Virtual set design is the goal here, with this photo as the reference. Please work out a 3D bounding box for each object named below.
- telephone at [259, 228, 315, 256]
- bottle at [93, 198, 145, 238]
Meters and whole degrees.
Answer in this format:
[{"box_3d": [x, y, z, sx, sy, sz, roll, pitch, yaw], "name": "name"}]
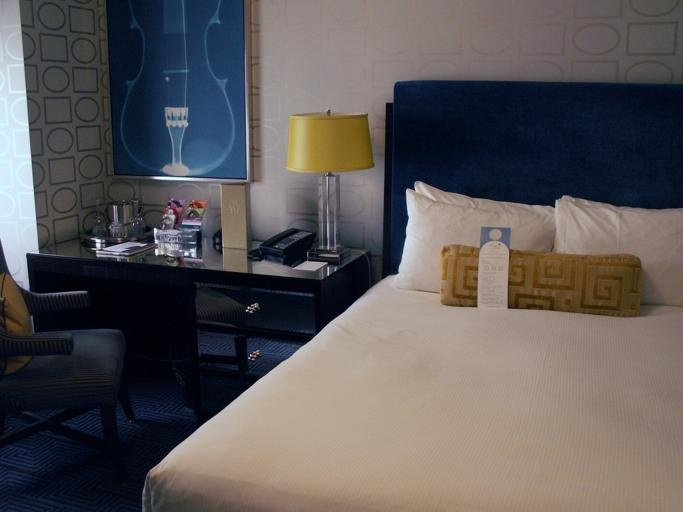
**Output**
[{"box_3d": [-0.295, -0.071, 2.994, 0.154, 0.110, 0.218, 8, 18, 35], "name": "telephone"}, {"box_3d": [-1.375, -0.225, 3.321, 0.333, 0.224, 0.282, -8, 14, -42], "name": "bottle"}]
